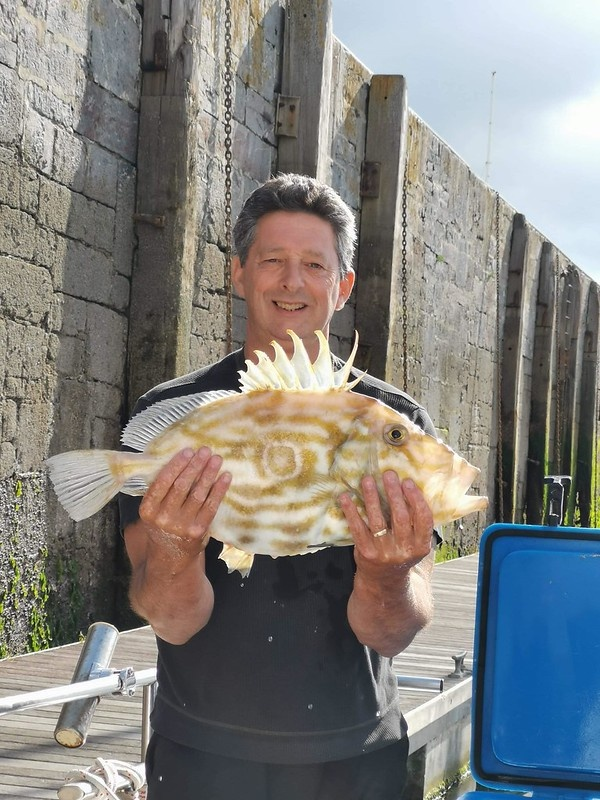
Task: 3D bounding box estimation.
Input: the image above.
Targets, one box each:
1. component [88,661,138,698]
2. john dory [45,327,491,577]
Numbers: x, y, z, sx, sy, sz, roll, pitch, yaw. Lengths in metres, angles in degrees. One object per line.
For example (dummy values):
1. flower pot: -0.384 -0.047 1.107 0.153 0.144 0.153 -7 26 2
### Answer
1. component: -0.488 0.739 2.147 0.110 0.060 0.090 4 -2 14
2. john dory: -0.072 0.121 1.661 0.791 0.459 0.221 -1 6 -10
